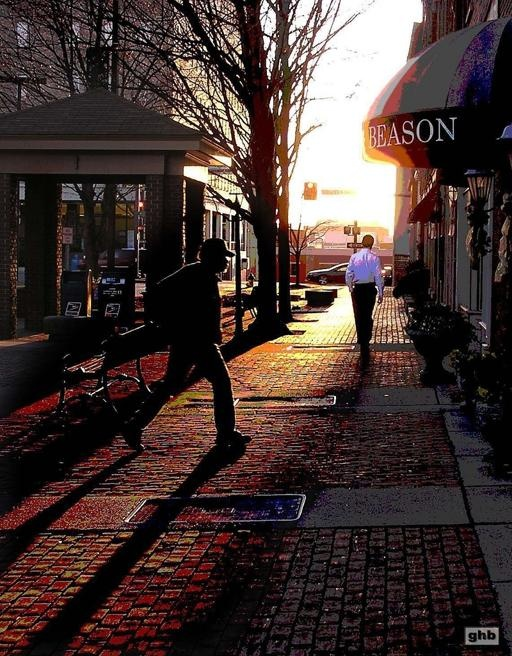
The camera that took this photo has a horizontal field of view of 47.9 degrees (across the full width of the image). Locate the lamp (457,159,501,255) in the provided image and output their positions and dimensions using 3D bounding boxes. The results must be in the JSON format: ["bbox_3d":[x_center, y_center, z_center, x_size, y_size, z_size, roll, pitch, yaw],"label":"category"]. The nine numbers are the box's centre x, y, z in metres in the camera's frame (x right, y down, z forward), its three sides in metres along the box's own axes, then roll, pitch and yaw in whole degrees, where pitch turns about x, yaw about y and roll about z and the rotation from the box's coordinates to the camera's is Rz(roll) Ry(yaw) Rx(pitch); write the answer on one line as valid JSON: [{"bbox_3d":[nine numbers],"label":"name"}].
[{"bbox_3d":[4.627,-2.428,11.906,0.531,1.958,2.750,-2,-2,20],"label":"lamp"}]

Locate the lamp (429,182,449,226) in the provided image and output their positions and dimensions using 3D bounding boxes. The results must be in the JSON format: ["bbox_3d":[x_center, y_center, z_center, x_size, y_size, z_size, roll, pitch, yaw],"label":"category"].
[{"bbox_3d":[7.120,-4.907,22.506,0.602,1.932,3.086,-2,-2,17],"label":"lamp"}]

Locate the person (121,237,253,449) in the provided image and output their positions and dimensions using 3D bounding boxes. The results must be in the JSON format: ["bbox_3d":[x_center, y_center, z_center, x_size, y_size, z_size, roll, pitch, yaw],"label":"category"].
[{"bbox_3d":[-0.729,0.184,6.503,1.278,2.342,1.121,-1,-3,-4],"label":"person"}]
